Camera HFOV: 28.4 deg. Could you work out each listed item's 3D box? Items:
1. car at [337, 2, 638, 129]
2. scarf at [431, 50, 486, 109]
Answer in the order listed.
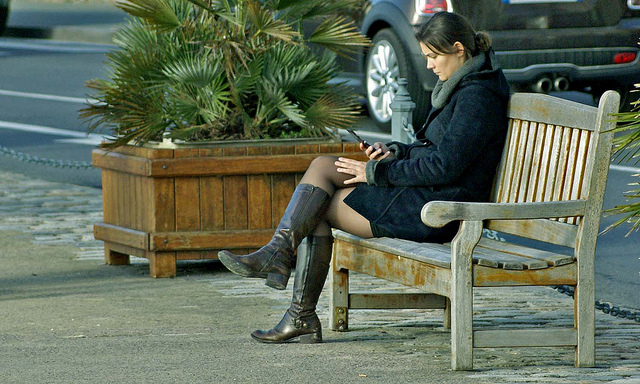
[{"bbox_3d":[1.823,-1.755,16.045,1.906,1.349,2.954,1,10,-17],"label":"car"},{"bbox_3d":[1.064,-0.888,10.028,0.161,0.477,0.378,37,23,-8],"label":"scarf"}]
